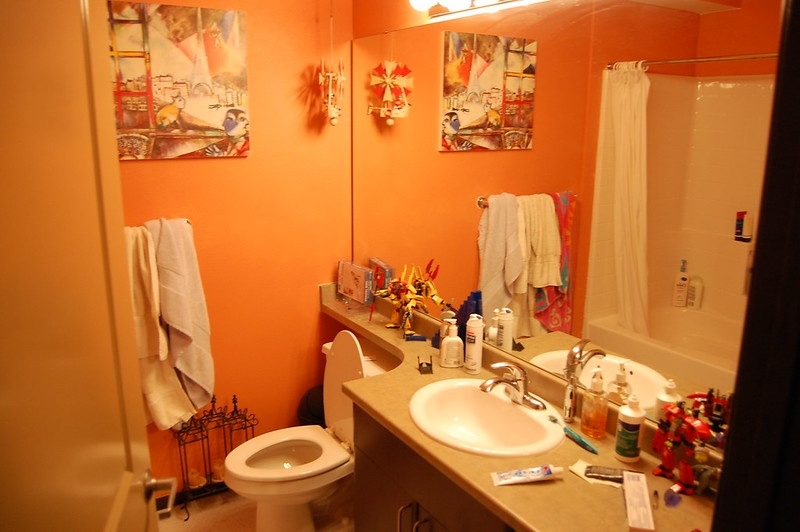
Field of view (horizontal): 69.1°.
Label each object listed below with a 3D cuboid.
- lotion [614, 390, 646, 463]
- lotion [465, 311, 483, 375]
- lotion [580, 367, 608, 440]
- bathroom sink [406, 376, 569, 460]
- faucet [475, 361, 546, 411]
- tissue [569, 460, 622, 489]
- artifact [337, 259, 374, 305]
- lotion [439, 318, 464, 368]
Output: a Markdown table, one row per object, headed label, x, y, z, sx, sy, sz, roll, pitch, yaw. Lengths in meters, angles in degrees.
| label | x | y | z | sx | sy | sz | roll | pitch | yaw |
| --- | --- | --- | --- | --- | --- | --- | --- | --- | --- |
| lotion | 0.698 | 0.496 | 1.765 | 0.081 | 0.197 | 0.079 | -2 | 11 | -27 |
| lotion | 0.289 | 0.308 | 2.287 | 0.071 | 0.217 | 0.091 | -1 | 15 | 4 |
| lotion | 0.628 | 0.441 | 1.867 | 0.083 | 0.229 | 0.065 | 3 | 16 | 18 |
| bathroom sink | 0.312 | 0.532 | 1.989 | 0.444 | 0.112 | 0.521 | -2 | 21 | -23 |
| faucet | 0.399 | 0.406 | 2.052 | 0.178 | 0.134 | 0.174 | -12 | 13 | -31 |
| tissue | 0.573 | 0.609 | 1.698 | 0.085 | 0.014 | 0.065 | 8 | 14 | 32 |
| artifact | -0.227 | 0.081 | 2.983 | 0.075 | 0.211 | 0.180 | -13 | 26 | -37 |
| lotion | 0.211 | 0.314 | 2.379 | 0.119 | 0.186 | 0.109 | 2 | 5 | -8 |
